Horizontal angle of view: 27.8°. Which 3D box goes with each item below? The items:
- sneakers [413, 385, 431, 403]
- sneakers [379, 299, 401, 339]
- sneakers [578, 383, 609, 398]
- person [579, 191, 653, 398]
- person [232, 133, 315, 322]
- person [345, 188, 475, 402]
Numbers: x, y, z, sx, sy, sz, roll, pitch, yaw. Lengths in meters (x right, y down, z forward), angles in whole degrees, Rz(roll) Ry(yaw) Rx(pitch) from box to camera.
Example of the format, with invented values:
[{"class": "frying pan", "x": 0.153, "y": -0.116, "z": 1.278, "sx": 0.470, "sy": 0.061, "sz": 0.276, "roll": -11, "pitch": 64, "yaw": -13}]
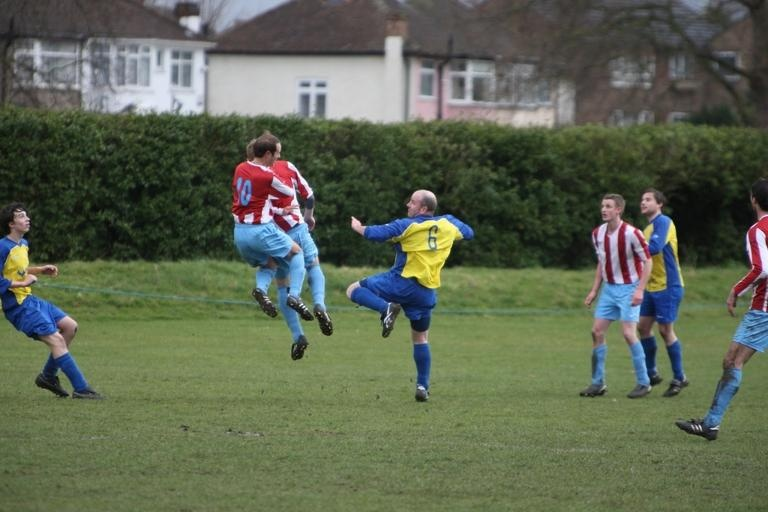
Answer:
[{"class": "sneakers", "x": 0.510, "y": 1.928, "z": 21.732, "sx": 0.179, "sy": 0.217, "sz": 0.250, "roll": 1, "pitch": 4, "yaw": 2}, {"class": "sneakers", "x": 0.059, "y": 0.850, "z": 21.806, "sx": 0.304, "sy": 0.580, "sz": 0.202, "roll": 10, "pitch": 21, "yaw": 0}, {"class": "sneakers", "x": 2.965, "y": 1.933, "z": 22.084, "sx": 0.427, "sy": 0.168, "sz": 0.148, "roll": -3, "pitch": 24, "yaw": -9}, {"class": "person", "x": 3.331, "y": 0.573, "z": 22.176, "sx": 0.975, "sy": 2.893, "sz": 0.739, "roll": 2, "pitch": 5, "yaw": 8}, {"class": "person", "x": -1.674, "y": -0.444, "z": 22.391, "sx": 1.037, "sy": 2.610, "sz": 0.627, "roll": 1, "pitch": 5, "yaw": -4}, {"class": "person", "x": 0.350, "y": 0.555, "z": 21.749, "sx": 1.557, "sy": 2.945, "sz": 0.619, "roll": 1, "pitch": 5, "yaw": 3}]
